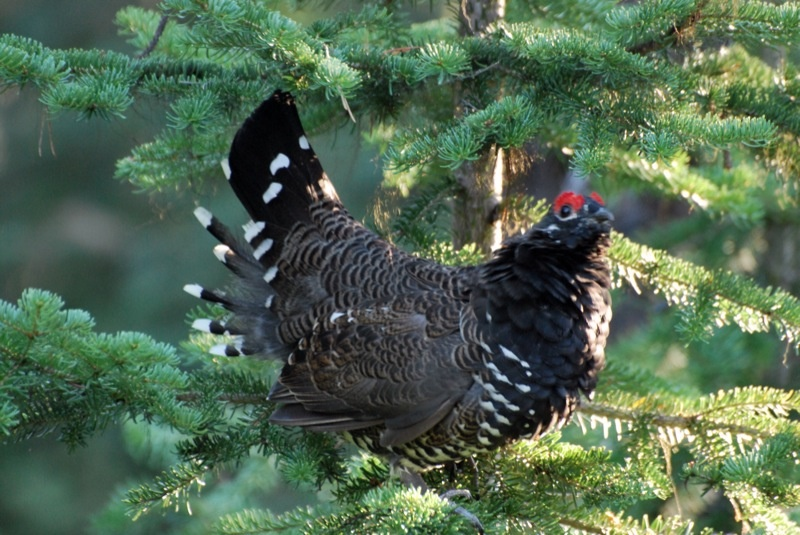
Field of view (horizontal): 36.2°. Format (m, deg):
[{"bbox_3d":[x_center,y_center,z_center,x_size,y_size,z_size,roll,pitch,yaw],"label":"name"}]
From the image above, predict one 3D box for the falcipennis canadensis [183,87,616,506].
[{"bbox_3d":[0.000,0.213,7.651,2.547,1.991,0.948,16,27,11],"label":"falcipennis canadensis"}]
